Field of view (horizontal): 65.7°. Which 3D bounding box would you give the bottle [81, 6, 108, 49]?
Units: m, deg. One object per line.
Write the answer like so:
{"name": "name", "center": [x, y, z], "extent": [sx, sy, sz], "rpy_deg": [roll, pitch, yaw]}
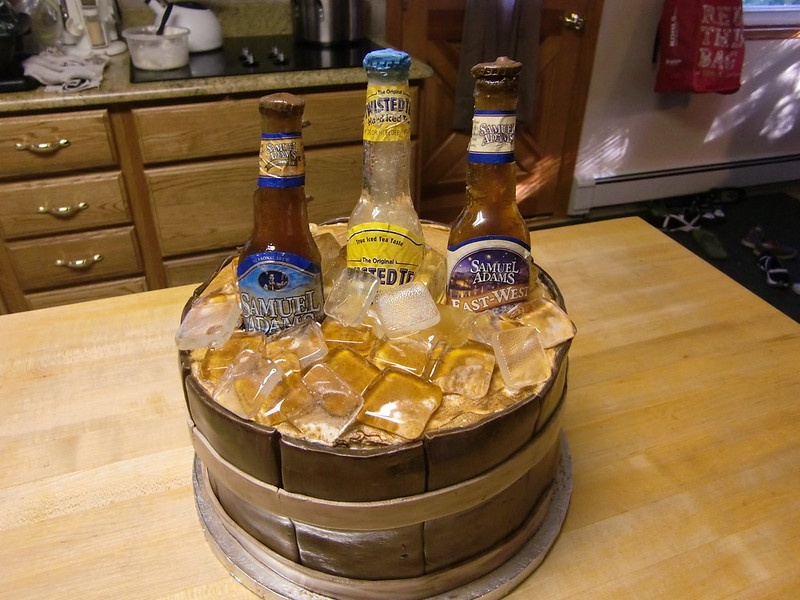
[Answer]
{"name": "bottle", "center": [-1.044, -0.939, 2.128], "extent": [0.068, 0.107, 0.026], "rpy_deg": [-28, 42, -30]}

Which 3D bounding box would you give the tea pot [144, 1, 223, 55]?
{"name": "tea pot", "center": [-0.747, -0.993, 2.256], "extent": [0.274, 0.210, 0.155], "rpy_deg": [-12, 45, -21]}

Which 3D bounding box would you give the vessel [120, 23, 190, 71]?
{"name": "vessel", "center": [-0.801, -0.850, 2.101], "extent": [0.246, 0.122, 0.242], "rpy_deg": [-22, 32, -37]}
